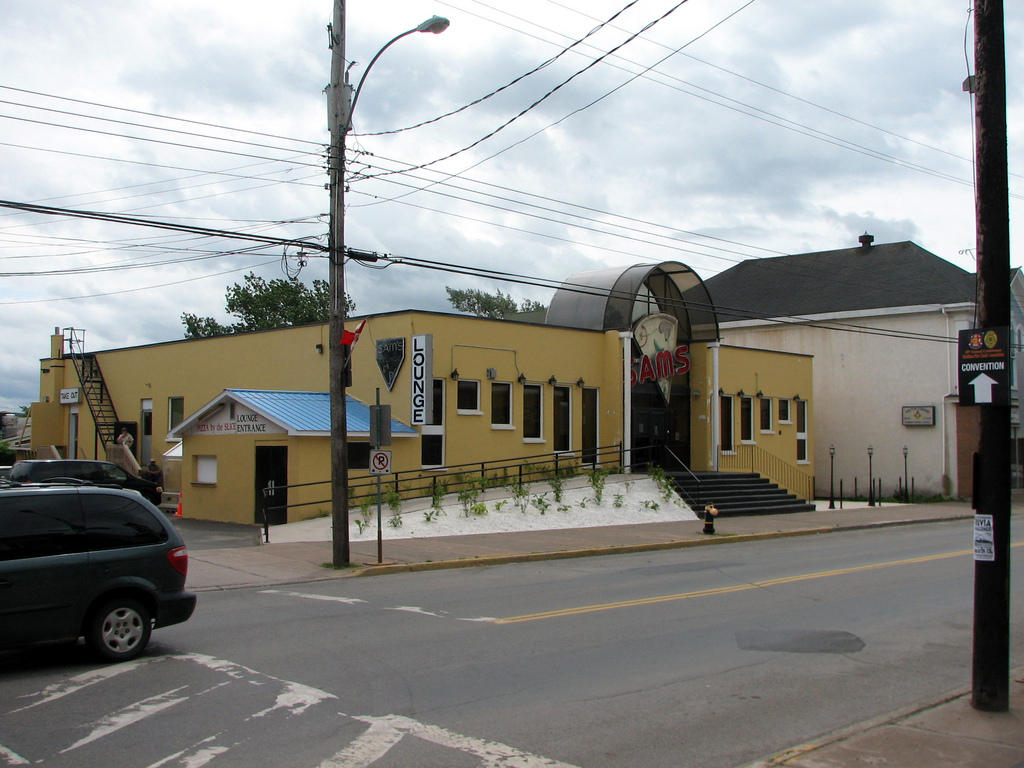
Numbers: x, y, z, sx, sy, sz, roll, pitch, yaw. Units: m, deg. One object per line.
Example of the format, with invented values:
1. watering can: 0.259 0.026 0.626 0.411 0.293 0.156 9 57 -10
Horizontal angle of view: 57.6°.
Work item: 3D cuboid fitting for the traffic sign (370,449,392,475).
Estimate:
1. traffic sign: -2.712 1.661 19.306 0.386 0.521 1.477 1 -2 -10
